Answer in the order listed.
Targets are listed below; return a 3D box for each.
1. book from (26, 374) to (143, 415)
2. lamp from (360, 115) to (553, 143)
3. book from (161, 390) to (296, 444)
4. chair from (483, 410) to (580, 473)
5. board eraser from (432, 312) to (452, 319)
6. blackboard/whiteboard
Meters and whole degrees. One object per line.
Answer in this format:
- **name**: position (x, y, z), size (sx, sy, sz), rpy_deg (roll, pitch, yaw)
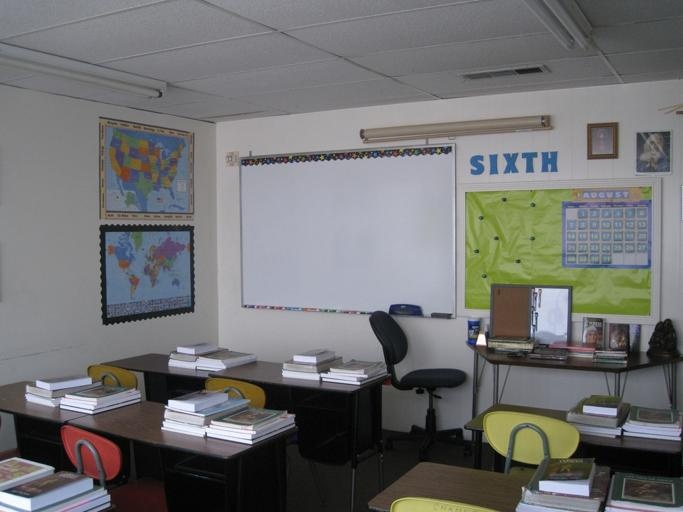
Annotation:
- **book**: position (-1.742, 0.940, 3.677), size (0.360, 0.083, 0.361), rpy_deg (5, 3, 26)
- **lamp**: position (1.062, -1.233, 5.403), size (1.873, 0.167, 0.138), rpy_deg (-1, 2, 22)
- **book**: position (-0.674, 0.943, 3.260), size (0.705, 0.186, 0.360), rpy_deg (-1, 2, 25)
- **chair**: position (1.074, 0.960, 3.082), size (0.435, 0.340, 0.438), rpy_deg (4, -10, 31)
- **board eraser**: position (1.003, 0.606, 5.529), size (0.117, 0.042, 0.084), rpy_deg (3, 2, 21)
- **blackboard/whiteboard**: position (0.157, -0.265, 5.862), size (2.051, 1.404, 0.055), rpy_deg (0, 0, 22)
